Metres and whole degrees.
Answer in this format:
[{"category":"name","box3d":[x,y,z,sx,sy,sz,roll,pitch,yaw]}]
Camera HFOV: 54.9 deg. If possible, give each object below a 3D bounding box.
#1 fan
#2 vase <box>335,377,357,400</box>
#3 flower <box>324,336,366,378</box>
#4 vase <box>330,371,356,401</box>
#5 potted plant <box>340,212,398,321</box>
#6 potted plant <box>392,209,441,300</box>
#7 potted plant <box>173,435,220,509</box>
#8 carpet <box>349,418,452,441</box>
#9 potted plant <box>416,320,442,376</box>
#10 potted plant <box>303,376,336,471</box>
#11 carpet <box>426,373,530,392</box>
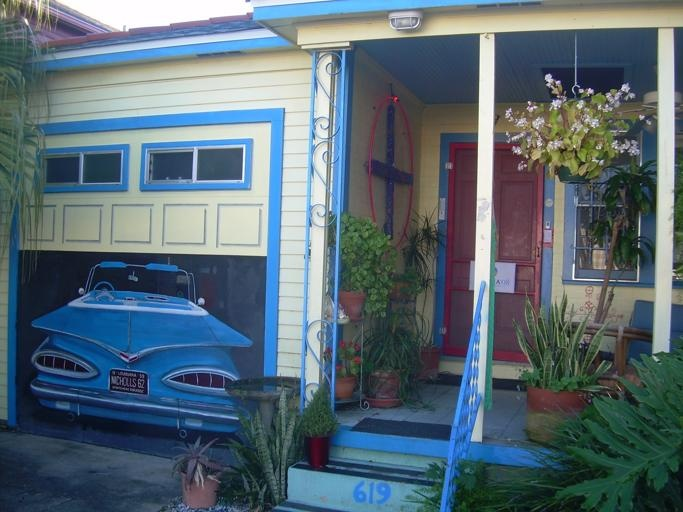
[{"category":"fan","box3d":[3.023,-1.455,6.373,0.649,0.327,0.689,1,1,38]},{"category":"vase","box3d":[0.039,1.297,6.482,0.213,0.197,0.240,-2,-3,11]},{"category":"flower","box3d":[0.073,1.000,6.526,0.277,0.372,0.376,-1,-15,0]},{"category":"vase","box3d":[0.009,1.260,6.409,0.269,0.241,0.281,2,-6,-27]},{"category":"potted plant","box3d":[0.272,0.091,6.474,0.543,0.986,0.356,2,-1,1]},{"category":"potted plant","box3d":[0.885,-0.039,7.898,0.430,1.001,0.417,3,23,10]},{"category":"potted plant","box3d":[-1.307,2.043,6.416,0.427,0.715,0.628,1,2,3]},{"category":"carpet","box3d":[0.562,1.580,6.061,0.886,0.060,0.414,2,-1,14]},{"category":"potted plant","box3d":[1.058,1.110,7.800,0.248,0.716,0.874,2,-1,7]},{"category":"potted plant","box3d":[-0.199,1.530,6.011,0.450,0.727,0.498,7,-22,-11]},{"category":"carpet","box3d":[1.453,1.314,6.823,0.568,0.154,0.092,0,-2,15]}]
